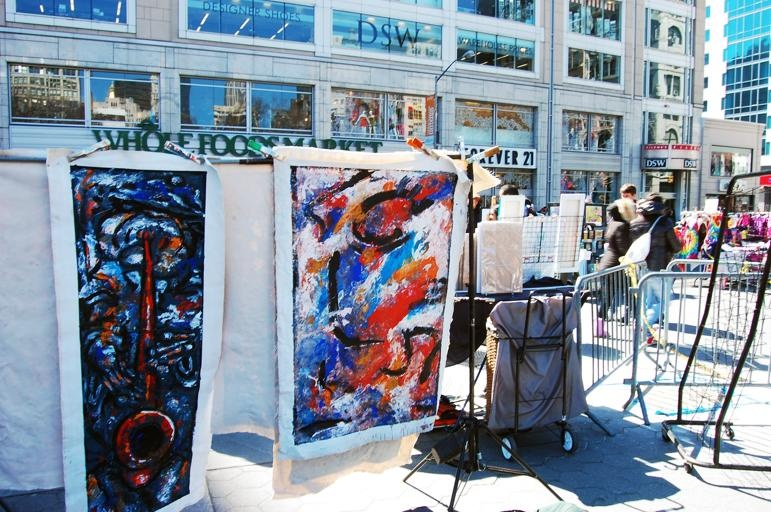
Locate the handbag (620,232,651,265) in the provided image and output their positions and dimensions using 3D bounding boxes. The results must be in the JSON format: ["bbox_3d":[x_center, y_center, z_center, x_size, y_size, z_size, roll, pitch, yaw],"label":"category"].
[{"bbox_3d":[4.960,-0.166,17.046,0.548,0.578,1.125,4,10,17],"label":"handbag"}]

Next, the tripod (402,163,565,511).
[{"bbox_3d":[1.385,1.155,13.264,1.858,5.261,1.787,9,12,40],"label":"tripod"}]
